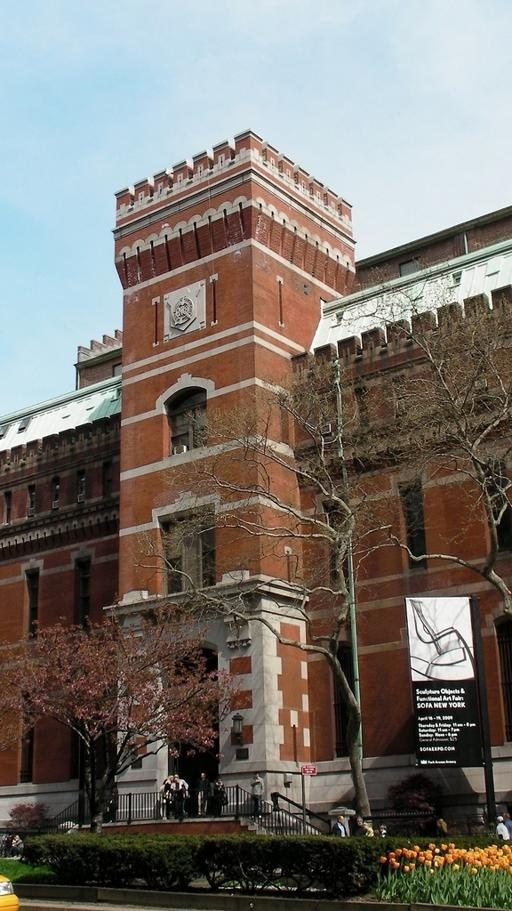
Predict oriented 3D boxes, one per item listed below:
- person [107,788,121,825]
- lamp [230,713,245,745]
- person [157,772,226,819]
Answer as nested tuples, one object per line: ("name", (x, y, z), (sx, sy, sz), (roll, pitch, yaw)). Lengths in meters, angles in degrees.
("person", (-4.199, 10.268, 27.542), (0.338, 0.771, 0.856), (1, -20, -8))
("lamp", (-0.589, 7.662, 26.452), (0.324, 0.838, 0.499), (16, -27, -42))
("person", (-1.782, 9.297, 25.626), (1.497, 0.613, 1.504), (9, -25, -23))
